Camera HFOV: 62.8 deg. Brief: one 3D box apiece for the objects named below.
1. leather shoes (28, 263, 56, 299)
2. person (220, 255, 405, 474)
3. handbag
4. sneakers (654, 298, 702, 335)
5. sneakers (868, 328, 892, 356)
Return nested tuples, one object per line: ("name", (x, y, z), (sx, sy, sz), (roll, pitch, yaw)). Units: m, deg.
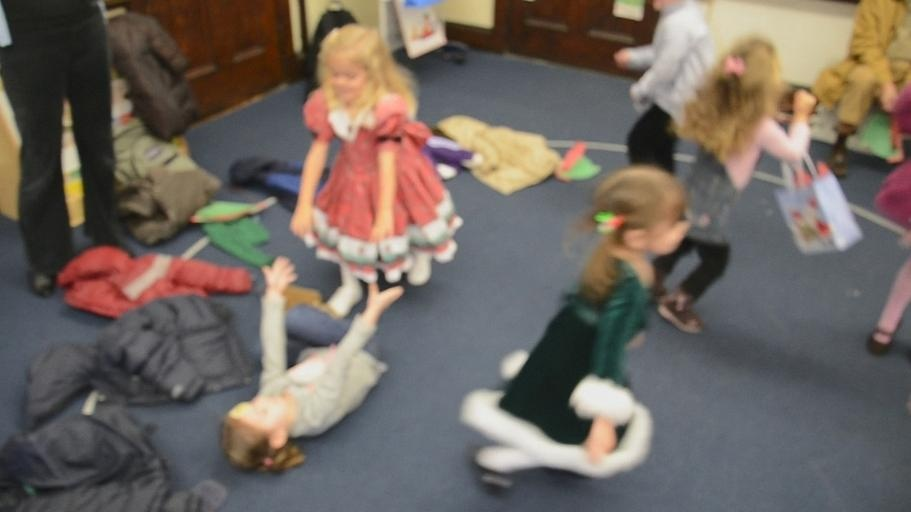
("leather shoes", (-3.072, 0.180, 5.608), (0.187, 0.224, 0.106), (-12, 21, 7))
("person", (-1.108, 0.658, 4.971), (1.230, 1.126, 0.840), (-26, 47, -29))
("handbag", (2.514, -0.383, 5.215), (0.230, 0.427, 0.768), (-10, 75, -57))
("sneakers", (1.673, 0.456, 5.691), (0.359, 0.147, 0.207), (39, 89, 12))
("sneakers", (3.103, 0.639, 5.477), (0.119, 0.088, 0.248), (14, 80, 17))
